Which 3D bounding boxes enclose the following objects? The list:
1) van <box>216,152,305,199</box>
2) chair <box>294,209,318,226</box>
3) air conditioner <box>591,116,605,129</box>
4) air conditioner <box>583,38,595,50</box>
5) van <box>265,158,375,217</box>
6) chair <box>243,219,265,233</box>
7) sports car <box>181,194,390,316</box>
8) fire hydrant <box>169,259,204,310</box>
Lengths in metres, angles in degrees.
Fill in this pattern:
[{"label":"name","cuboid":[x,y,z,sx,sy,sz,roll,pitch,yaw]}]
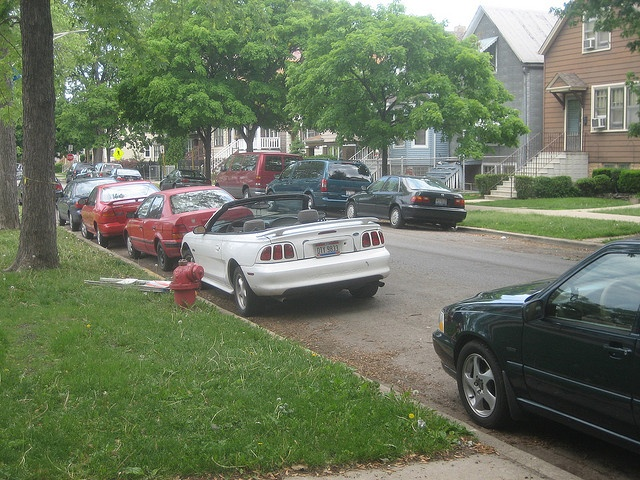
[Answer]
[{"label":"van","cuboid":[-3.022,-2.960,28.395,2.062,1.828,4.543,-2,8,-27]},{"label":"chair","cuboid":[-0.223,-0.368,10.303,0.387,0.223,0.276,-2,10,-28]},{"label":"air conditioner","cuboid":[13.257,-5.529,29.661,0.506,0.724,0.997,0,4,9]},{"label":"air conditioner","cuboid":[12.980,-9.528,30.026,0.356,0.609,0.626,-3,4,-21]},{"label":"van","cuboid":[-0.126,-2.022,22.624,1.874,1.400,3.563,-3,10,-32]},{"label":"chair","cuboid":[-1.049,-0.221,10.013,0.361,0.192,0.329,-1,-5,-22]},{"label":"sports car","cuboid":[-0.636,0.213,10.225,3.032,1.909,1.984,6,7,37]},{"label":"fire hydrant","cuboid":[-2.095,0.675,9.643,0.617,0.841,0.609,-2,8,-6]}]
